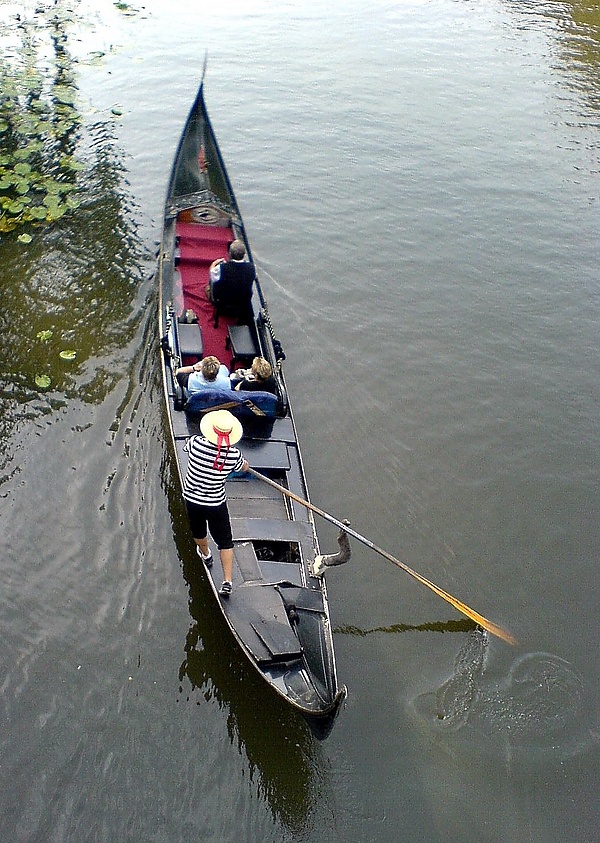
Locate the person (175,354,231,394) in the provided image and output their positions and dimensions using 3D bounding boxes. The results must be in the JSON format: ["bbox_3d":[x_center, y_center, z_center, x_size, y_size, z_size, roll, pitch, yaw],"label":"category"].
[{"bbox_3d":[-0.911,-0.430,8.620,0.400,0.878,0.492,-2,84,-12],"label":"person"}]

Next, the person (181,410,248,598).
[{"bbox_3d":[-0.745,0.700,7.341,0.490,1.656,0.599,4,39,9],"label":"person"}]

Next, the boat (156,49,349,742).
[{"bbox_3d":[-0.411,-1.118,10.160,1.458,2.362,9.778,-3,54,-15],"label":"boat"}]

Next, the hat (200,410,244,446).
[{"bbox_3d":[-0.629,0.054,7.052,0.307,0.281,0.242,-13,39,-13],"label":"hat"}]

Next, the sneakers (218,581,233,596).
[{"bbox_3d":[-0.640,1.469,7.567,0.062,0.075,0.175,15,20,-9],"label":"sneakers"}]

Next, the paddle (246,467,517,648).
[{"bbox_3d":[0.795,1.420,8.681,2.753,0.330,0.148,34,88,10],"label":"paddle"}]

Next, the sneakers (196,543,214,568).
[{"bbox_3d":[-0.833,1.212,7.900,0.096,0.113,0.259,-17,83,-27],"label":"sneakers"}]
